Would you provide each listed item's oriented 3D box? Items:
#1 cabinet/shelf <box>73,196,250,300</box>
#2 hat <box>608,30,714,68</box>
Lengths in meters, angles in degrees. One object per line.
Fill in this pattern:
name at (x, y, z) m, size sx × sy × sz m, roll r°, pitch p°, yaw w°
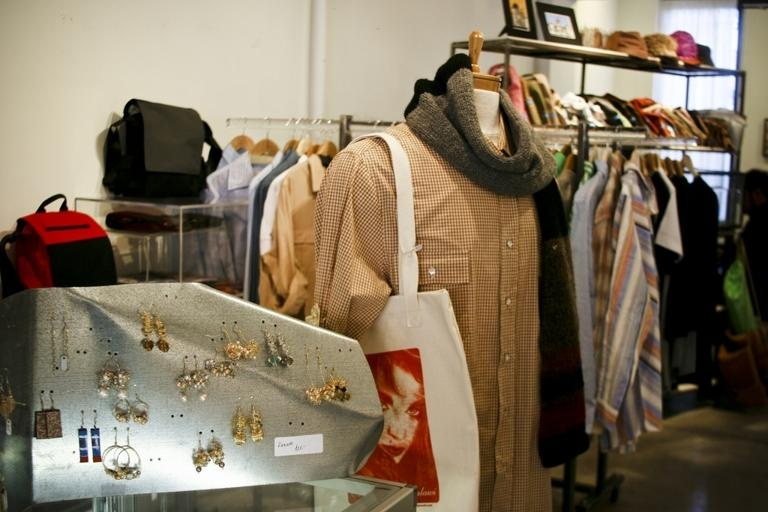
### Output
cabinet/shelf at (-1.038, -0.075, 3.920) m, size 0.545 × 0.596 × 0.567 m, roll 3°, pitch 4°, yaw 42°
hat at (1.793, -1.344, 5.245) m, size 0.479 × 0.169 × 0.374 m, roll -3°, pitch 16°, yaw -31°
